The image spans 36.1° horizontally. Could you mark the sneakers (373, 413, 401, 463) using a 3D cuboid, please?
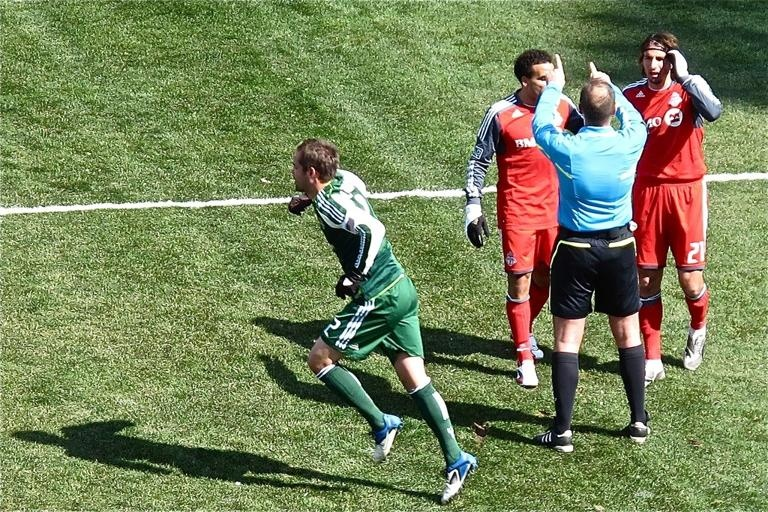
[{"bbox_3d":[0.045,1.841,11.913,0.278,0.550,0.204,7,18,-31],"label":"sneakers"}]

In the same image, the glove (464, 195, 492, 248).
[{"bbox_3d":[1.001,-0.354,12.506,0.278,0.501,0.157,-8,-1,12],"label":"glove"}]

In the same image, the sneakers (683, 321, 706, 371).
[{"bbox_3d":[3.421,0.984,12.890,0.182,0.537,0.216,6,-8,17],"label":"sneakers"}]

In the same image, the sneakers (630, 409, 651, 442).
[{"bbox_3d":[2.661,1.774,12.265,0.215,0.234,0.554,3,7,16],"label":"sneakers"}]
